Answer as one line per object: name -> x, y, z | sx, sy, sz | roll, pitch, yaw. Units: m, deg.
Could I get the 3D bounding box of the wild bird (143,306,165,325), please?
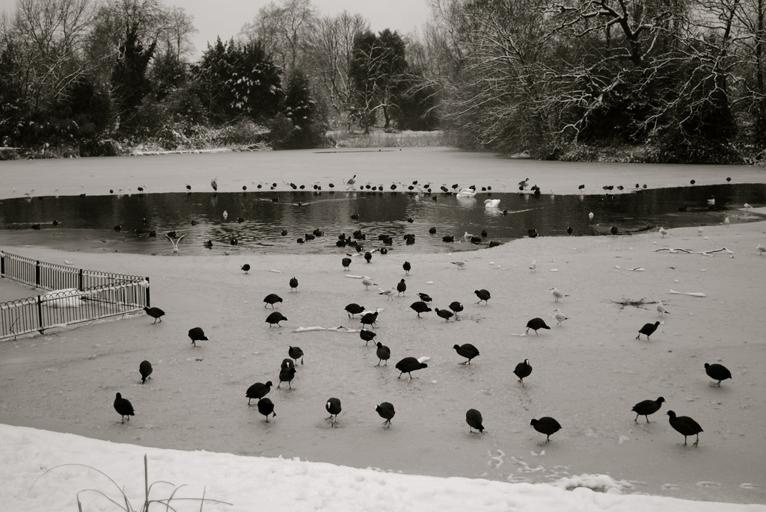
wild bird -> -7.508, 1.908, 31.918 | 0.783, 0.544, 0.397 | 0, 11, 22

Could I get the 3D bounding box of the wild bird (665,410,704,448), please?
wild bird -> 8.578, 4.905, 27.625 | 1.018, 0.876, 0.585 | 3, 15, 15

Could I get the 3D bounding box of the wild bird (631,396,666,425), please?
wild bird -> 7.557, 4.466, 27.895 | 1.145, 0.836, 0.579 | -4, 5, 8

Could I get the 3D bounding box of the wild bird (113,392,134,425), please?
wild bird -> -7.509, 4.411, 28.140 | 0.575, 0.772, 0.750 | -5, 15, -16

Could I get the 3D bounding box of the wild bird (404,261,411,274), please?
wild bird -> 0.843, 0.381, 35.279 | 0.329, 0.442, 0.828 | 0, 14, 2

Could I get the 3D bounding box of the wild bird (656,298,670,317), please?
wild bird -> 9.217, 1.755, 32.185 | 0.220, 0.454, 0.698 | -14, -3, 1

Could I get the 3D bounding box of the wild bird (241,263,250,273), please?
wild bird -> -4.972, 0.430, 35.342 | 0.373, 0.325, 0.208 | 7, 10, 42

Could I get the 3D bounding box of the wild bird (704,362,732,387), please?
wild bird -> 9.988, 3.499, 28.909 | 0.475, 0.616, 0.952 | -13, 12, -41

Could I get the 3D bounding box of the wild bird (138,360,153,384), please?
wild bird -> -7.130, 3.511, 29.274 | 0.376, 0.657, 0.424 | 0, 12, -5

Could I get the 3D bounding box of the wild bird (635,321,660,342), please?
wild bird -> 8.390, 2.338, 30.855 | 0.668, 0.541, 0.676 | 4, 15, 17

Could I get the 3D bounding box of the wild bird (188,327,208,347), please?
wild bird -> -5.828, 2.521, 30.619 | 0.413, 0.470, 0.774 | -9, 13, -43
